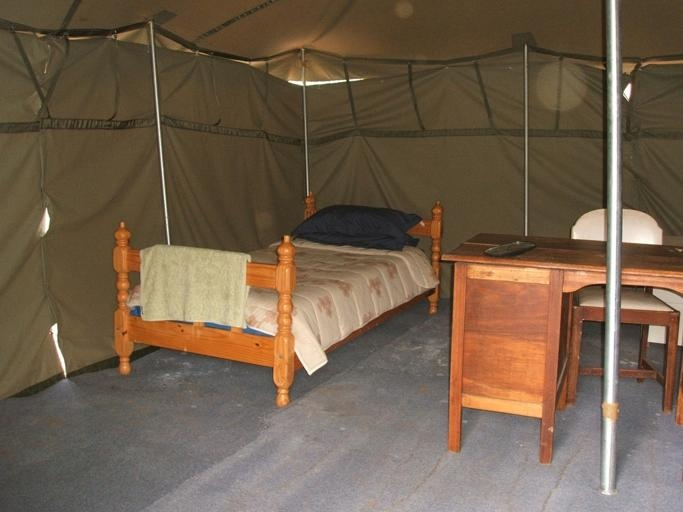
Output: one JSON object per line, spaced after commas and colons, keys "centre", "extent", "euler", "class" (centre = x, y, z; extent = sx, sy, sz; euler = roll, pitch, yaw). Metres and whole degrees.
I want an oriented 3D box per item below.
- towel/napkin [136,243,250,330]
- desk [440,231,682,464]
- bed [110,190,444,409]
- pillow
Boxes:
{"centre": [-1.071, 0.215, 4.389], "extent": [0.857, 0.552, 0.165], "euler": [4, 8, 14], "class": "towel/napkin"}
{"centre": [1.267, 0.555, 3.780], "extent": [1.256, 1.231, 0.742], "euler": [0, 7, 9], "class": "desk"}
{"centre": [-0.407, 0.032, 5.310], "extent": [1.468, 1.200, 2.496], "euler": [7, 13, 27], "class": "bed"}
{"centre": [0.113, -0.267, 6.031], "extent": [0.853, 0.234, 0.600], "euler": [5, 19, 19], "class": "pillow"}
